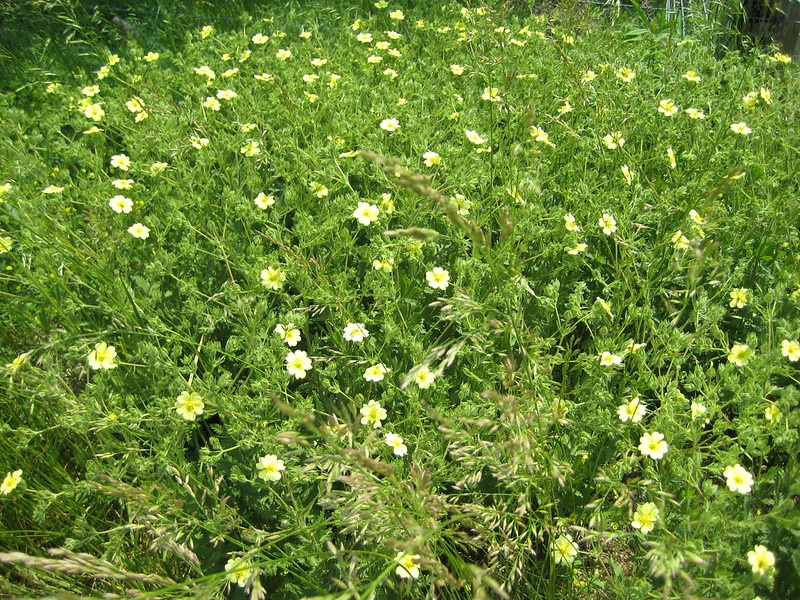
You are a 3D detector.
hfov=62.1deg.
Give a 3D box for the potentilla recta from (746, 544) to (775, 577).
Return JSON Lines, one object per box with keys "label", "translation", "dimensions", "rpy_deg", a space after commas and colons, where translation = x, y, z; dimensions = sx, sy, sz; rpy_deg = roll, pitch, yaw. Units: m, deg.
{"label": "potentilla recta", "translation": [1.550, 1.123, 2.864], "dimensions": [0.103, 0.048, 0.114], "rpy_deg": [12, 58, 33]}
